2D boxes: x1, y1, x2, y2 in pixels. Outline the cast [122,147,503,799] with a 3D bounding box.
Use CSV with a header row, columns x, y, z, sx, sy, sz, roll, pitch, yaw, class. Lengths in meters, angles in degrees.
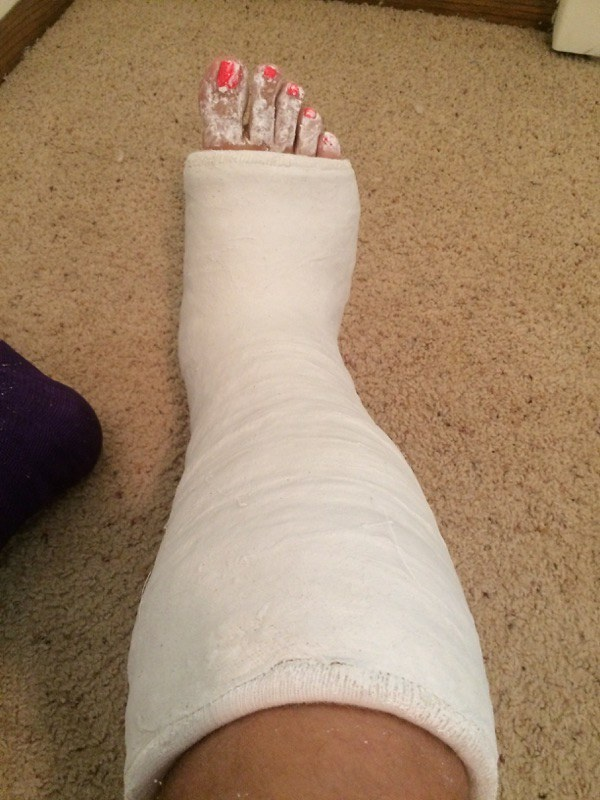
x,y,z,sx,sy,sz,roll,pitch,yaw,class
0.017,-0.017,0.894,0.270,0.251,0.859,-5,38,5,cast
